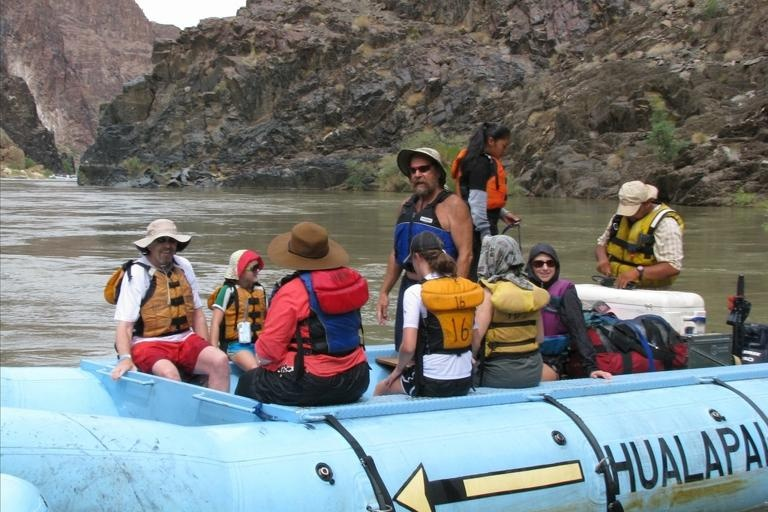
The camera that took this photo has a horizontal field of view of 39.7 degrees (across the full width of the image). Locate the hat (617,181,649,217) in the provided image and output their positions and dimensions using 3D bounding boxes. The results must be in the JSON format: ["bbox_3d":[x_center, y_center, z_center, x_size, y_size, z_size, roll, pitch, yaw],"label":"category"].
[{"bbox_3d":[4.414,-1.019,18.940,0.539,0.601,0.252,1,5,11],"label":"hat"}]

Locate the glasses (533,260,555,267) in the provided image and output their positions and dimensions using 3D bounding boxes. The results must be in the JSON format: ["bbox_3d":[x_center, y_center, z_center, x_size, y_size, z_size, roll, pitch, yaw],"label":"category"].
[{"bbox_3d":[2.651,0.129,17.872,0.200,0.063,0.192,-1,-20,8],"label":"glasses"}]

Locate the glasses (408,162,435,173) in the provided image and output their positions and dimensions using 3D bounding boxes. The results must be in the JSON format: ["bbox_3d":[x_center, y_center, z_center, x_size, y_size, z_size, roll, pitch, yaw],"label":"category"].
[{"bbox_3d":[0.599,-1.479,18.052,0.384,0.141,0.123,1,4,10],"label":"glasses"}]

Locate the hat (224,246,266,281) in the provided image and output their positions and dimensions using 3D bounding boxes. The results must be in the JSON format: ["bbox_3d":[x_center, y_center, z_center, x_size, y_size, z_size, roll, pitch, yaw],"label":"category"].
[{"bbox_3d":[-2.528,0.129,18.947,0.639,0.352,0.573,-1,14,20],"label":"hat"}]

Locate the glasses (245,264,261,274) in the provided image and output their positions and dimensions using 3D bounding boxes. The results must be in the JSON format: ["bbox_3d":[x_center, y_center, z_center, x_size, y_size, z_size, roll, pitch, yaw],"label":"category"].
[{"bbox_3d":[-2.311,0.213,18.799,0.164,0.051,0.160,6,21,-36],"label":"glasses"}]
